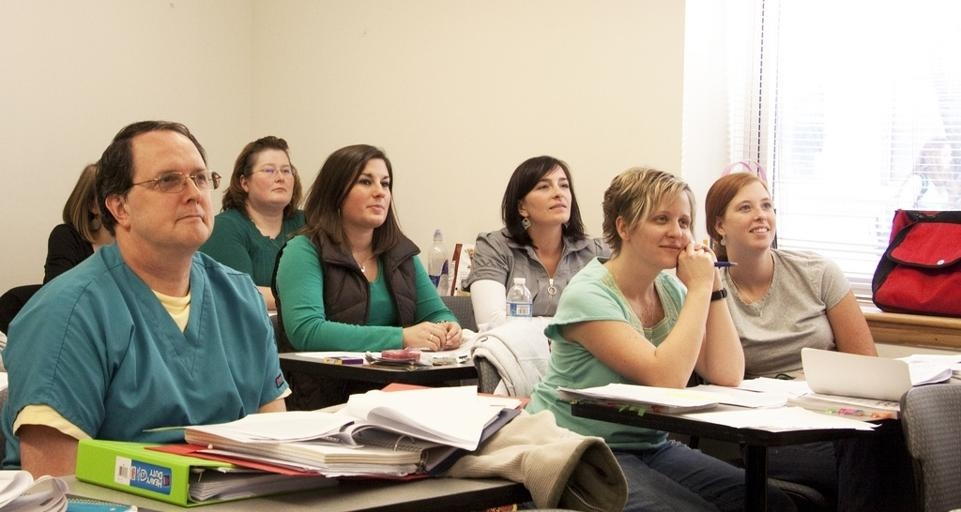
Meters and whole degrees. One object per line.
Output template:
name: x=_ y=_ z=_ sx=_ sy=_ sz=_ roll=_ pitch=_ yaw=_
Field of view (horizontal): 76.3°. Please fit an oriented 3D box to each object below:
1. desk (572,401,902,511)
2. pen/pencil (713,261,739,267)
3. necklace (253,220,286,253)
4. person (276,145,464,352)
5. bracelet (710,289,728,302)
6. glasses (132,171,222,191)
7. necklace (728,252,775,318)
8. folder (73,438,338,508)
desk: x=0.801 y=0.531 z=1.950 sx=0.553 sy=0.312 sz=0.529 roll=0 pitch=0 yaw=-39
pen/pencil: x=1.072 y=0.031 z=2.707 sx=0.217 sy=0.021 sz=0.022 roll=2 pitch=-16 yaw=-36
necklace: x=-1.535 y=-0.143 z=4.433 sx=0.239 sy=0.072 sz=0.245 roll=40 pitch=43 yaw=17
person: x=-0.624 y=-0.054 z=3.236 sx=0.877 sy=1.037 sz=0.605 roll=-2 pitch=11 yaw=-2
bracelet: x=0.991 y=0.156 z=2.575 sx=0.071 sy=0.023 sz=0.063 roll=-16 pitch=1 yaw=0
glasses: x=-0.999 y=-0.256 z=2.000 sx=0.142 sy=0.034 sz=0.140 roll=-18 pitch=-13 yaw=42
necklace: x=1.309 y=0.138 z=2.984 sx=0.252 sy=0.302 sz=0.117 roll=1 pitch=-2 yaw=12
folder: x=-0.697 y=0.523 z=1.495 sx=0.653 sy=0.110 sz=0.128 roll=0 pitch=10 yaw=8
